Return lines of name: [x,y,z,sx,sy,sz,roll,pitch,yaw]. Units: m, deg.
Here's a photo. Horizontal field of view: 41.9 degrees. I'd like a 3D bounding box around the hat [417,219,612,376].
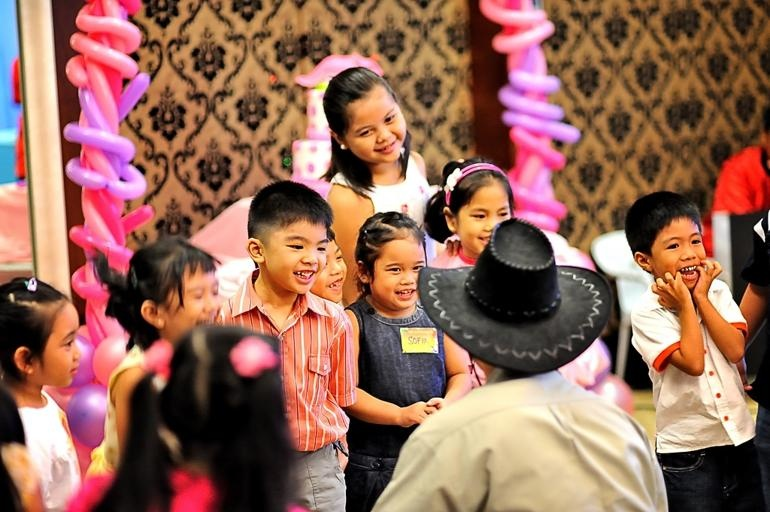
hat: [0.434,0.056,3.307,0.645,0.245,0.625,-13,34,-24]
